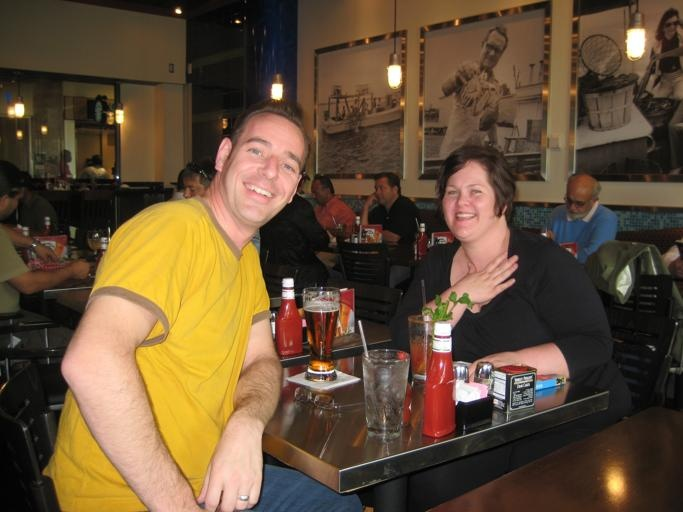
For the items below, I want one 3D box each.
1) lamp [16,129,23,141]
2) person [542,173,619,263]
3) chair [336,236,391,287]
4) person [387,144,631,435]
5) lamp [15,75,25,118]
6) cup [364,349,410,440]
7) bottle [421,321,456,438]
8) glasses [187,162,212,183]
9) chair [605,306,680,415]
[{"bbox_3d":[-7.469,-2.787,12.464,0.157,0.256,0.104,-5,13,-28],"label":"lamp"},{"bbox_3d":[2.042,-0.267,4.622,0.449,0.833,0.589,-21,30,-23],"label":"person"},{"bbox_3d":[0.202,-0.018,4.373,0.319,0.572,0.365,9,26,26],"label":"chair"},{"bbox_3d":[0.736,0.118,2.508,0.916,1.309,1.056,0,-1,-26],"label":"person"},{"bbox_3d":[-6.980,-3.384,11.609,0.213,0.772,1.796,-6,15,-30],"label":"lamp"},{"bbox_3d":[0.112,0.344,1.380,0.115,0.187,0.138,2,12,6],"label":"cup"},{"bbox_3d":[0.253,0.306,1.346,0.087,0.290,0.085,1,12,0],"label":"bottle"},{"bbox_3d":[-1.062,-0.645,4.094,0.167,0.054,0.177,19,-21,39],"label":"glasses"},{"bbox_3d":[1.252,0.403,2.241,0.158,0.449,0.310,2,-2,-24],"label":"chair"}]
